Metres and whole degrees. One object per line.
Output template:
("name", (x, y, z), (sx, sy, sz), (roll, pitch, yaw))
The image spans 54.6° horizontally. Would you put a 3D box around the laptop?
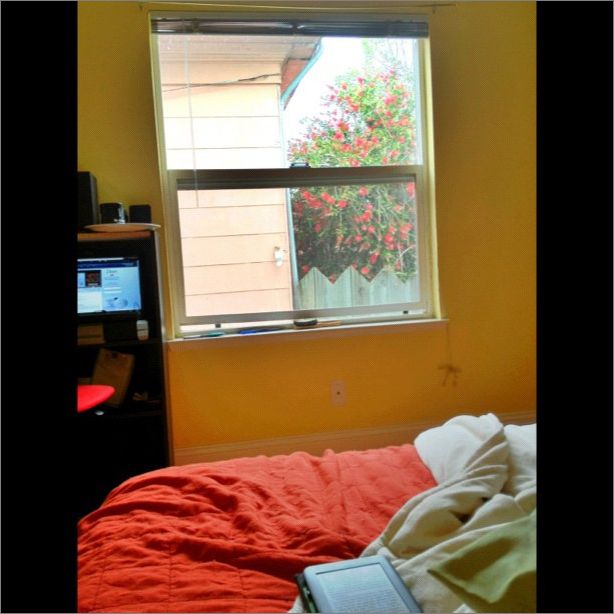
("laptop", (-0.799, -0.060, 2.406), (0.320, 0.235, 0.040), (-3, 1, -7))
